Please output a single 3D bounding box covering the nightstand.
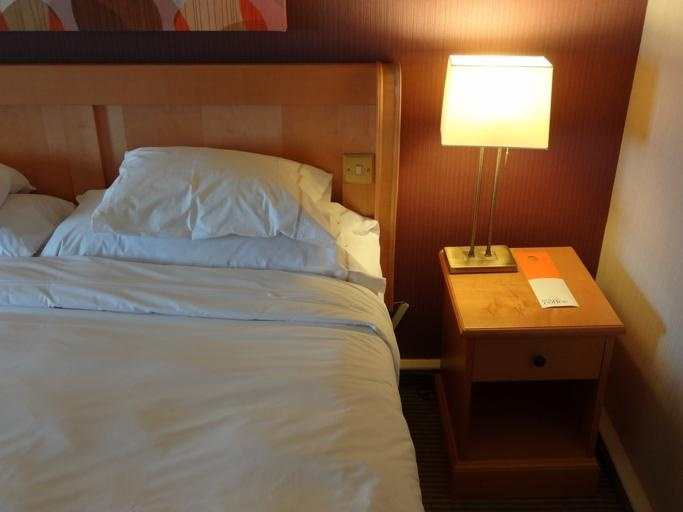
[{"bbox_3d":[0.655,0.433,1.985,0.534,0.764,0.472,0,24,0],"label":"nightstand"}]

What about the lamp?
[{"bbox_3d":[0.519,-0.306,1.879,0.351,0.709,0.238,4,18,9],"label":"lamp"}]

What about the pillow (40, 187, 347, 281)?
[{"bbox_3d":[-0.523,-0.027,1.841,0.674,0.114,0.425,3,41,-2],"label":"pillow"}]

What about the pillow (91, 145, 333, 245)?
[{"bbox_3d":[-0.461,-0.138,1.869,0.566,0.141,0.411,5,34,-4],"label":"pillow"}]
